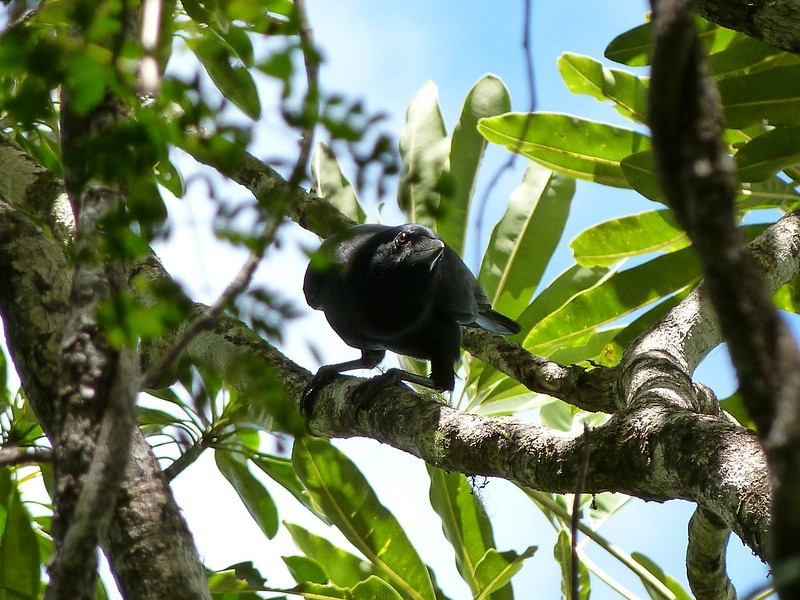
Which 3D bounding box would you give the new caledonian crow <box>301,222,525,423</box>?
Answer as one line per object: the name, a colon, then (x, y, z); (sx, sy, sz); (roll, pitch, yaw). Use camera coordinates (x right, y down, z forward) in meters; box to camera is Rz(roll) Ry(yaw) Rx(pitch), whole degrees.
new caledonian crow: (0.030, 0.008, 4.669); (0.452, 0.967, 0.710); (0, -80, 4)
